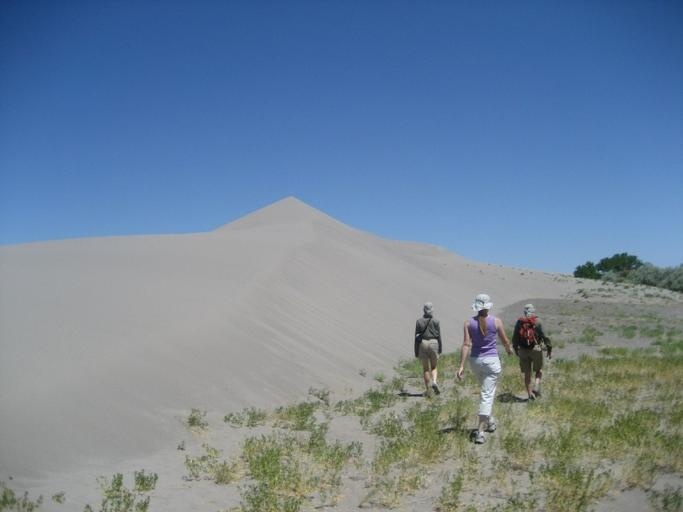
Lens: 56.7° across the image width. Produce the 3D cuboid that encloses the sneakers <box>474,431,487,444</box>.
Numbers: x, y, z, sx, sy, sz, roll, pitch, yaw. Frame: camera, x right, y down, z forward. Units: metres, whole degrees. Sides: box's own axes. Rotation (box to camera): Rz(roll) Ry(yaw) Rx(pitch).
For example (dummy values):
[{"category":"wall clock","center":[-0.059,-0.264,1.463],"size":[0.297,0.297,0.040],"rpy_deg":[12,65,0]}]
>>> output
[{"category":"sneakers","center":[2.616,3.398,11.904],"size":[0.211,0.215,0.189],"rpy_deg":[1,-6,13]}]

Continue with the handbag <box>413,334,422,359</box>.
[{"category":"handbag","center":[1.845,2.156,15.309],"size":[0.153,0.497,0.335],"rpy_deg":[4,2,10]}]

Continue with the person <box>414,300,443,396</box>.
[{"category":"person","center":[2.144,2.270,15.673],"size":[0.588,2.354,1.446],"rpy_deg":[-2,1,7]}]

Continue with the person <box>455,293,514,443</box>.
[{"category":"person","center":[2.708,2.100,12.078],"size":[0.922,2.765,0.706],"rpy_deg":[-2,2,9]}]

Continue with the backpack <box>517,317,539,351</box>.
[{"category":"backpack","center":[4.235,1.692,14.201],"size":[0.406,0.660,0.353],"rpy_deg":[-5,-13,40]}]
